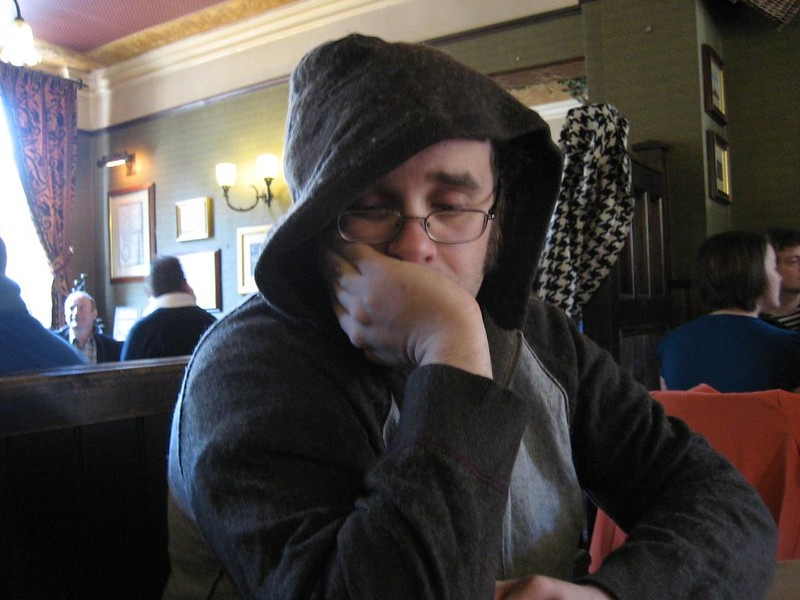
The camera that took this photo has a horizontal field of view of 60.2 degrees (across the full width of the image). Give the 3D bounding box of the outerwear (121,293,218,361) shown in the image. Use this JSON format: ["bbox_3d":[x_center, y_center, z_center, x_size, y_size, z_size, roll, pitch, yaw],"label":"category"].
[{"bbox_3d":[-1.168,0.127,3.517,0.362,0.330,0.207,0,-9,-2],"label":"outerwear"}]

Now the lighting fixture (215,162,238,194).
[{"bbox_3d":[-1.290,-0.928,5.269,0.173,0.221,0.191,-1,-3,-4],"label":"lighting fixture"}]

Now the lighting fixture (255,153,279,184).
[{"bbox_3d":[-0.951,-0.945,4.998,0.173,0.205,0.178,-1,8,-9],"label":"lighting fixture"}]

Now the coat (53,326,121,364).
[{"bbox_3d":[-1.829,0.260,4.022,0.329,0.196,0.323,12,-11,-28],"label":"coat"}]
